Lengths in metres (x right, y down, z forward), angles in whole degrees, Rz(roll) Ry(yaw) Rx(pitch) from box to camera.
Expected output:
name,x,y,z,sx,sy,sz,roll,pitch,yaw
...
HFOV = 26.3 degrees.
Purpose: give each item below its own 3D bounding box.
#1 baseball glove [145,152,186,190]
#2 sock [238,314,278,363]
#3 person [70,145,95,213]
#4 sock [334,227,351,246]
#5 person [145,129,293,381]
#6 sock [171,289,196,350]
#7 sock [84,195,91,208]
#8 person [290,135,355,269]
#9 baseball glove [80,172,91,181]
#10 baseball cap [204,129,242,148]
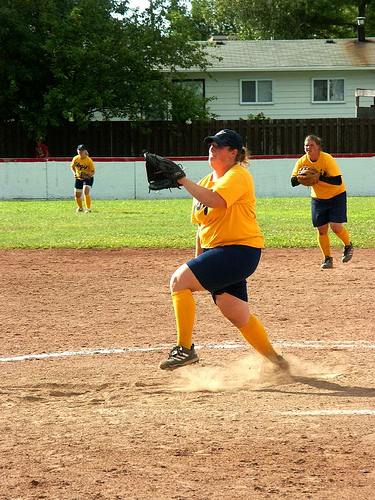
name,x,y,z,sx,sy,sz,roll,pitch,yaw
baseball glove,-0.139,-0.498,4.984,0.241,0.233,0.348,-1,1,-2
sock,0.509,0.606,5.357,0.131,0.124,0.491,-27,-52,29
person,-2.360,-1.630,18.102,0.489,1.592,1.138,-2,1,-8
sock,2.018,-0.184,10.320,0.162,0.234,0.404,-1,1,12
person,0.183,0.024,5.041,0.850,1.662,0.824,-1,1,9
sock,-0.021,0.424,5.079,0.138,0.379,0.214,-2,1,-1
sock,-2.348,-1.155,18.785,0.224,0.184,0.686,-3,-9,-6
person,1.673,-0.618,9.989,0.686,1.677,1.089,-1,1,12
baseball glove,-2.246,-1.665,17.853,0.204,0.178,0.363,-1,1,15
baseball cap,0.232,-0.690,5.020,0.200,0.093,0.119,14,11,-23
